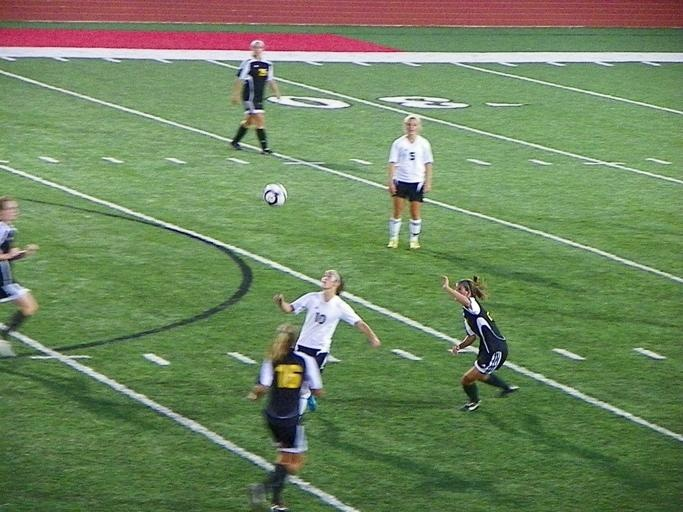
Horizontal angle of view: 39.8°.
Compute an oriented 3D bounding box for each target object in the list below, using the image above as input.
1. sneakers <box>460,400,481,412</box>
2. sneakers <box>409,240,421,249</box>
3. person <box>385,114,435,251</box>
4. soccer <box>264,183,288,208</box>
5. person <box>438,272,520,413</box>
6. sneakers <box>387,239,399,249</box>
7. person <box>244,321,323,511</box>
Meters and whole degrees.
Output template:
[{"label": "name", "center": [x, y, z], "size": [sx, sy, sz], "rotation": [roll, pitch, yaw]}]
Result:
[{"label": "sneakers", "center": [1.415, 1.625, 10.240], "size": [0.285, 0.083, 0.071], "rotation": [-9, 45, -8]}, {"label": "sneakers", "center": [1.154, -0.179, 14.441], "size": [0.186, 0.106, 0.167], "rotation": [-11, 19, -35]}, {"label": "person", "center": [1.040, -1.110, 14.289], "size": [0.763, 2.043, 0.662], "rotation": [11, 21, -1]}, {"label": "soccer", "center": [-1.106, -1.001, 15.685], "size": [0.388, 0.411, 0.372], "rotation": [7, 18, -5]}, {"label": "person", "center": [1.561, 0.938, 10.352], "size": [0.762, 1.426, 0.770], "rotation": [-1, 23, -29]}, {"label": "sneakers", "center": [0.796, -0.180, 14.404], "size": [0.258, 0.146, 0.446], "rotation": [0, 1, 6]}, {"label": "person", "center": [-0.557, 1.487, 8.549], "size": [0.640, 1.651, 0.917], "rotation": [11, 20, -1]}]
